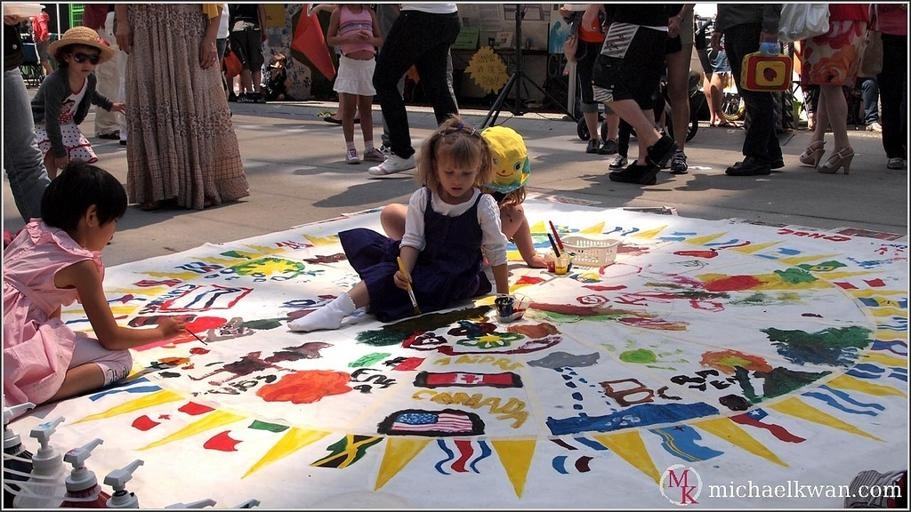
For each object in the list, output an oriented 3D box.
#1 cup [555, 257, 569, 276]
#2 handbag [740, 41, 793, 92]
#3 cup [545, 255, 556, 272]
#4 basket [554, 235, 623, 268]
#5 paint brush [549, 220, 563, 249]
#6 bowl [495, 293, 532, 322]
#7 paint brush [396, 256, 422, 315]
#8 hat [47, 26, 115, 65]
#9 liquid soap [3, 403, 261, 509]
[{"bbox_3d":[0.679,0.044,3.507,0.087,0.099,0.163,2,13,16],"label":"cup"},{"bbox_3d":[3.133,-1.856,5.383,0.276,0.437,0.497,-27,30,-17],"label":"handbag"},{"bbox_3d":[0.612,0.037,3.555,0.046,0.089,0.079,-8,-12,18],"label":"cup"},{"bbox_3d":[0.924,-0.074,3.699,0.286,0.091,0.299,2,8,-11],"label":"basket"},{"bbox_3d":[0.677,-0.128,3.656,0.060,0.386,0.029,-35,56,4],"label":"paint brush"},{"bbox_3d":[0.321,0.280,2.970,0.217,0.158,0.124,0,4,-28],"label":"bowl"},{"bbox_3d":[-0.232,0.154,2.954,0.092,0.344,0.065,-33,15,-26],"label":"paint brush"},{"bbox_3d":[-2.970,-1.670,4.383,0.480,0.133,0.360,-10,-2,2],"label":"hat"},{"bbox_3d":[-1.295,0.698,1.885,0.936,0.252,0.302,4,15,26],"label":"liquid soap"}]
